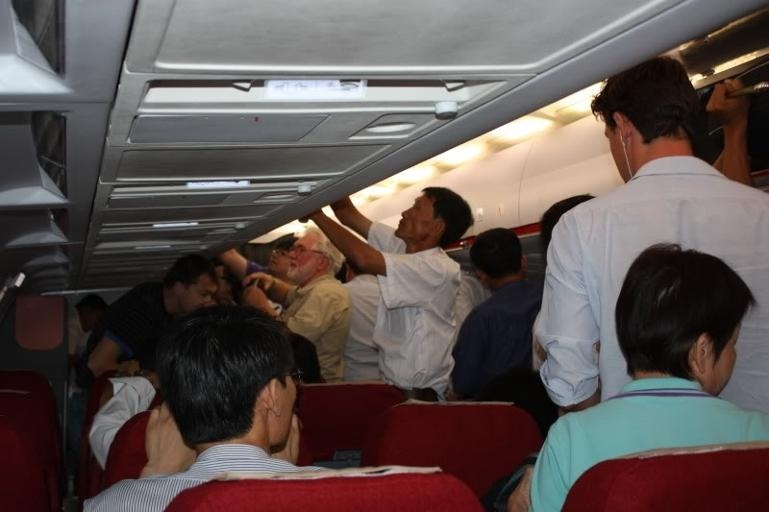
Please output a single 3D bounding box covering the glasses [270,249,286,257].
[{"bbox_3d":[-1.145,-0.033,5.472,0.140,0.063,0.184,0,6,5],"label":"glasses"}]
